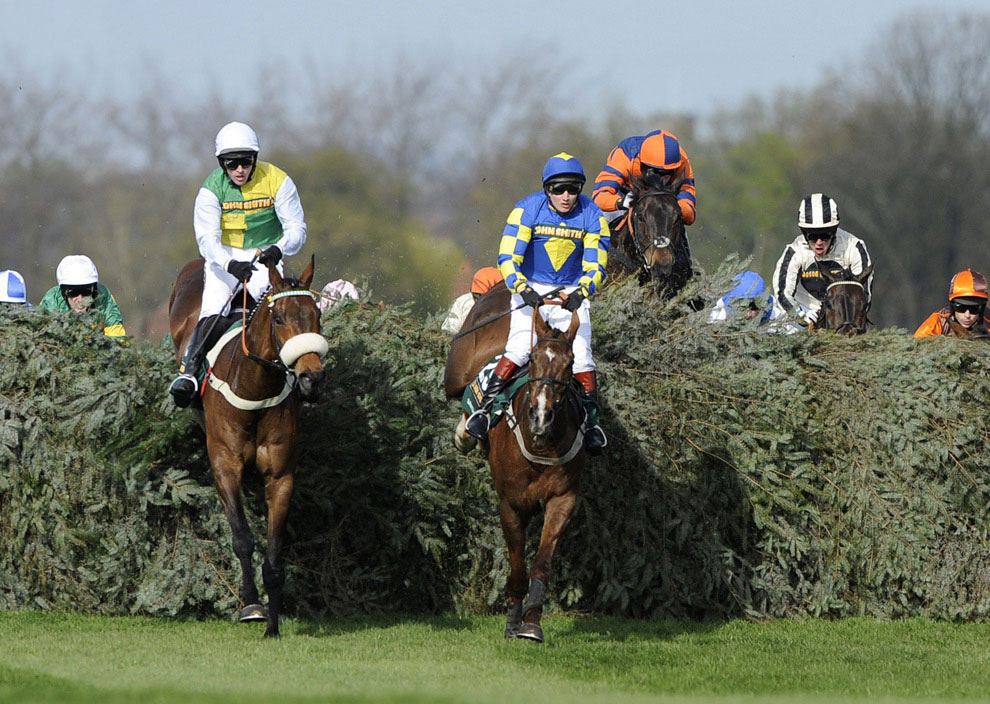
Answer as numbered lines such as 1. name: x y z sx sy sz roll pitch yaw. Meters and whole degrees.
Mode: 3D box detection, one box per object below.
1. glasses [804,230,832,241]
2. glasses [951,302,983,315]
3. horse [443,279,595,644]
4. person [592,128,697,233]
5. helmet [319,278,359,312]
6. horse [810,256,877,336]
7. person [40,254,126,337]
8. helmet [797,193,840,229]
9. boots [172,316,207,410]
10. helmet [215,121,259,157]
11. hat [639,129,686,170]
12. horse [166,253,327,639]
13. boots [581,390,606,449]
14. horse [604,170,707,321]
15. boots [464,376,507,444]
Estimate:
1. glasses: 3.491 -1.259 20.542 0.299 0.154 0.128 3 10 12
2. glasses: 4.982 -0.473 20.125 0.358 0.160 0.173 4 10 17
3. horse: 0.268 1.086 18.197 1.166 3.228 2.398 -2 10 -12
4. person: 1.558 -1.951 21.237 1.146 1.003 1.739 -4 13 -15
5. helmet: -1.819 -0.735 21.961 0.408 0.210 0.552 -17 12 6
6. horse: 3.639 -0.528 19.917 0.555 0.696 1.285 2 10 10
7. person: -4.551 -0.670 21.079 0.900 0.603 1.184 0 11 -12
8. helmet: 3.493 -1.528 20.641 0.326 0.372 0.441 -3 7 9
9. boots: -2.845 0.117 18.186 0.270 0.225 0.829 14 52 8
10. helmet: -2.507 -2.054 18.455 0.388 0.311 0.274 -2 10 -15
11. hat: 1.786 -2.163 20.479 0.502 0.399 0.400 1 10 4
12. horse: -2.358 0.888 18.135 1.009 3.535 2.131 -4 11 -25
13. boots: 0.972 0.654 17.987 0.155 0.640 0.342 -1 -3 -30
14. horse: 1.670 -1.216 19.978 0.821 1.219 1.258 -2 10 -17
15. boots: -0.083 0.517 17.957 0.236 0.322 0.855 32 11 -12
